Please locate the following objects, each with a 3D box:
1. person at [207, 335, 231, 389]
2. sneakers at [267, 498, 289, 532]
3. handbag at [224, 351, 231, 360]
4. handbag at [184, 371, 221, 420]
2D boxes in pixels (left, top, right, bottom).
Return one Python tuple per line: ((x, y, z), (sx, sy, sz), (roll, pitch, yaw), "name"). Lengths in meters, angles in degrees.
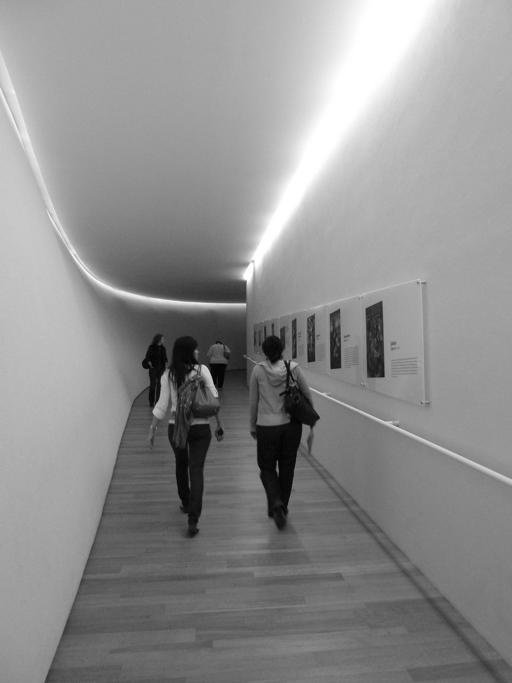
((-1.096, 0.748, 12.267), (0.454, 0.549, 1.749), (2, 53, -4), "person")
((0.182, 1.425, 3.477), (0.103, 0.302, 0.240), (1, 4, -3), "sneakers")
((-0.811, 0.376, 11.911), (0.142, 0.272, 0.243), (2, -17, -2), "handbag")
((-0.429, 0.434, 3.351), (0.256, 0.382, 0.169), (-1, -1, -9), "handbag")
